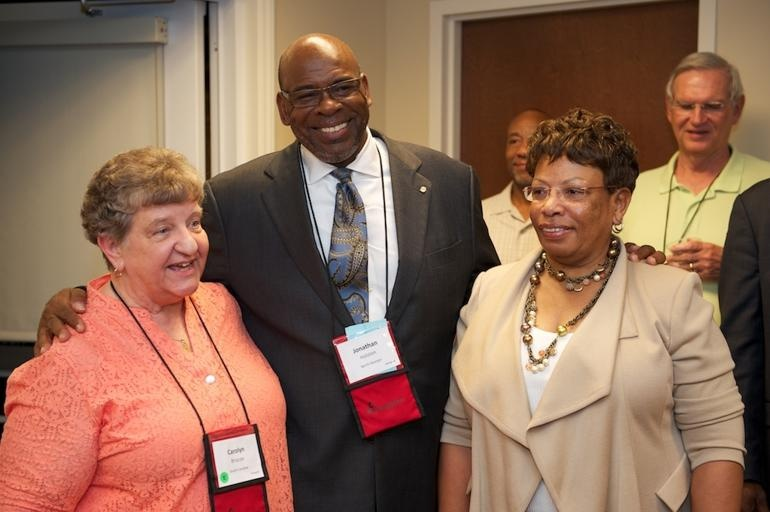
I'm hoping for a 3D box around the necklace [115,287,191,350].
[{"bbox_3d":[-0.819,0.215,2.336,0.189,0.270,0.096,-31,6,-22],"label":"necklace"}]
